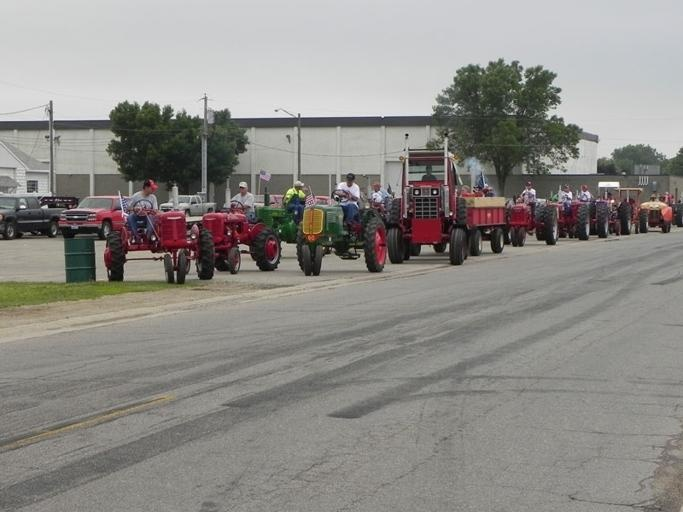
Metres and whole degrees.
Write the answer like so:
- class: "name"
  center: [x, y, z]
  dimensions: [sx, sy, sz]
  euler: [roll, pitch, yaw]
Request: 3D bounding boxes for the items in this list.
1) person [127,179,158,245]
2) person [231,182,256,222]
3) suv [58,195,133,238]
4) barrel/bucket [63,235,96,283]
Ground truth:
- class: "person"
  center: [-4.705, -1.071, 18.838]
  dimensions: [0.683, 1.436, 1.822]
  euler: [-1, 5, -14]
- class: "person"
  center: [-2.741, -1.479, 22.018]
  dimensions: [0.763, 1.056, 0.782]
  euler: [5, 11, 31]
- class: "suv"
  center: [-10.363, -1.585, 33.288]
  dimensions: [2.344, 1.683, 4.030]
  euler: [0, 1, 15]
- class: "barrel/bucket"
  center: [-5.856, 0.108, 17.866]
  dimensions: [0.838, 1.333, 0.871]
  euler: [-1, -2, 0]
